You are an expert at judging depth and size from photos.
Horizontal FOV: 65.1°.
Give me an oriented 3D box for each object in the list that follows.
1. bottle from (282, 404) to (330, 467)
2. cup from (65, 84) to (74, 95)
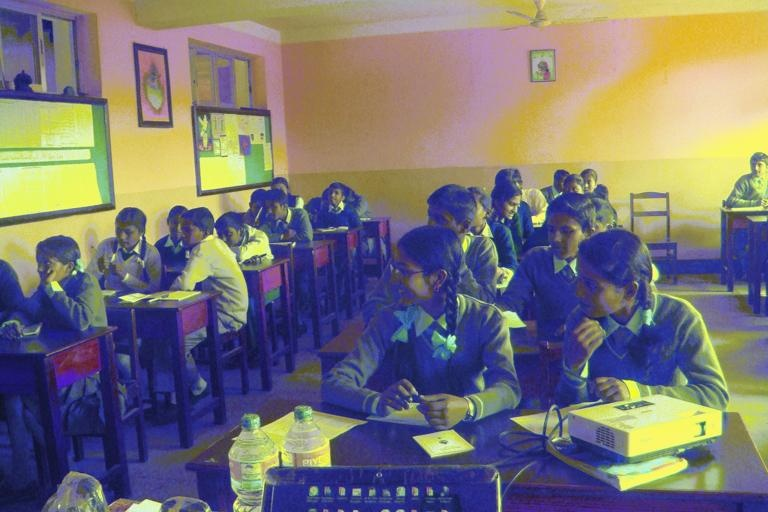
[{"bbox_3d":[-0.251,0.594,1.950,0.163,0.229,0.271,-2,8,-6],"label":"bottle"},{"bbox_3d":[-2.727,-1.440,5.220,0.085,0.093,0.207,-5,9,-27],"label":"cup"}]
